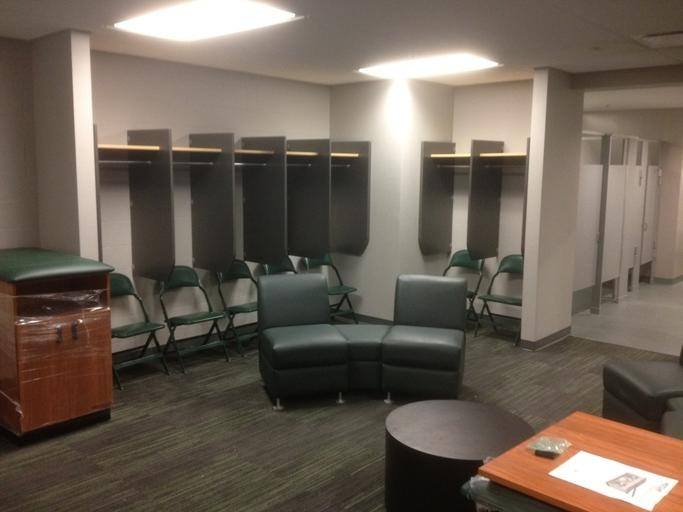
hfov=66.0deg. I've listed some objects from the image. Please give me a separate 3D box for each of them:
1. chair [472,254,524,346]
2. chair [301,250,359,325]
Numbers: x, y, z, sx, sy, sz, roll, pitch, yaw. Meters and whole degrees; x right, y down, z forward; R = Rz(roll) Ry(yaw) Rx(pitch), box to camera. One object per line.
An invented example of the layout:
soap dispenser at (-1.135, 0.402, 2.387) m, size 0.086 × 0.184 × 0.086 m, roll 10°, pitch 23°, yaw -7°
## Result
chair at (1.981, 0.524, 7.142) m, size 0.759 × 0.974 × 0.661 m, roll -14°, pitch -2°, yaw 3°
chair at (-0.168, 0.438, 7.064) m, size 0.749 × 0.887 × 0.655 m, roll 8°, pitch 14°, yaw 35°
